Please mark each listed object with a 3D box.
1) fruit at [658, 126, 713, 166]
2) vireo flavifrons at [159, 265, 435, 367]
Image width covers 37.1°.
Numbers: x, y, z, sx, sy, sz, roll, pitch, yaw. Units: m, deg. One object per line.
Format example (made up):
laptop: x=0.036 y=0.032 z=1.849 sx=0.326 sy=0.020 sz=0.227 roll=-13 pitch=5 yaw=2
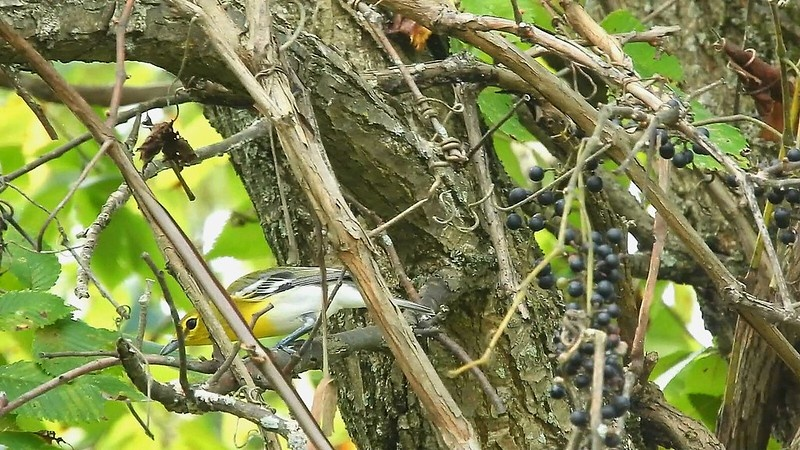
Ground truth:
fruit: x=0.963 y=-0.261 z=4.102 sx=0.149 sy=0.054 sz=0.151 roll=2 pitch=-38 yaw=-21
vireo flavifrons: x=-0.385 y=0.297 z=4.424 sx=1.033 sy=0.354 sz=0.278 roll=-11 pitch=-21 yaw=-11
